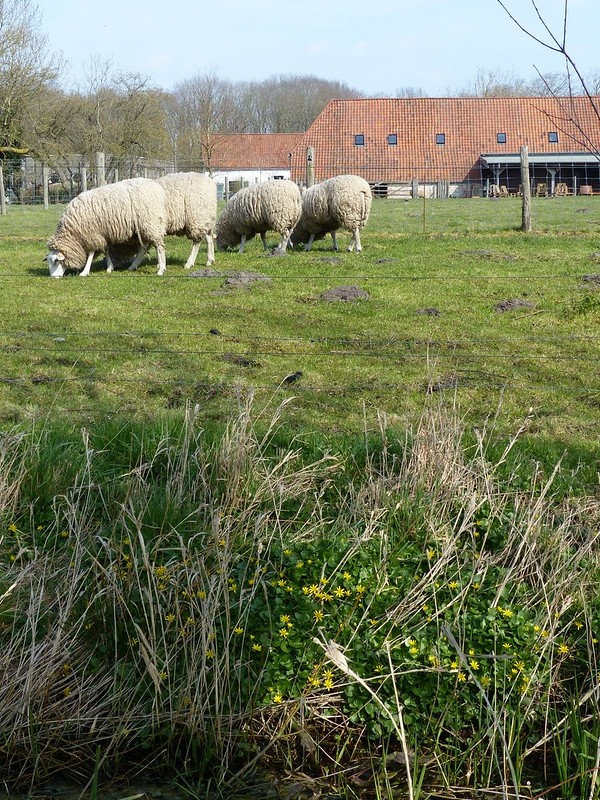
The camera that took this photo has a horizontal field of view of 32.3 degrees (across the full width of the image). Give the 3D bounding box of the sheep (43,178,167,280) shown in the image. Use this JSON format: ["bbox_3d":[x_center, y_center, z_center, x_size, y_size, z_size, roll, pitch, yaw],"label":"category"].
[{"bbox_3d":[-2.533,-2.316,13.895,1.557,1.302,1.128,-2,11,-11],"label":"sheep"}]

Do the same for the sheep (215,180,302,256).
[{"bbox_3d":[-0.614,-2.953,17.028,1.730,1.463,0.841,0,5,41],"label":"sheep"}]

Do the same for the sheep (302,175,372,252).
[{"bbox_3d":[0.454,-3.181,17.551,1.629,1.344,0.808,7,18,45],"label":"sheep"}]

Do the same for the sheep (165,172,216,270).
[{"bbox_3d":[-1.542,-2.546,14.687,0.700,1.344,1.618,-1,12,-6],"label":"sheep"}]
